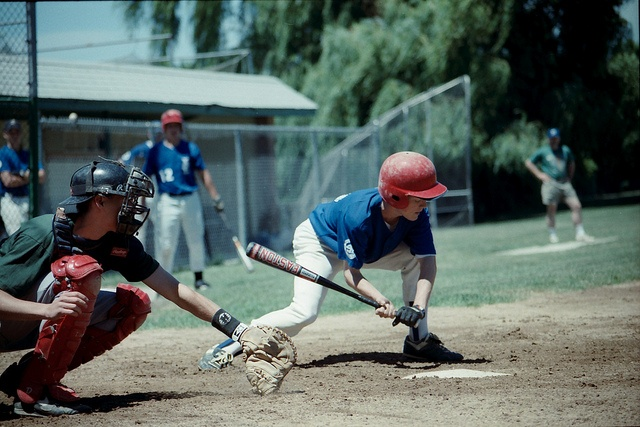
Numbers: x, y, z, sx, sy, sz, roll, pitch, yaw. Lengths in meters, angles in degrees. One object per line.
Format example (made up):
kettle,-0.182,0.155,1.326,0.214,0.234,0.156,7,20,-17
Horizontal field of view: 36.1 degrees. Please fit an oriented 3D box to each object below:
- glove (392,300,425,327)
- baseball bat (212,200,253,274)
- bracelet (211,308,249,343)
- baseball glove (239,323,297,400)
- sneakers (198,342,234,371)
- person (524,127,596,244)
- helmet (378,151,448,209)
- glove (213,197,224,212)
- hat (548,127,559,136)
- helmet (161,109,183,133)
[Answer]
glove,0.902,0.995,9.843,0.221,0.122,0.234,1,29,39
baseball bat,-1.318,0.314,14.629,0.158,1.183,0.128,-19,-27,-13
bracelet,-0.883,1.097,9.553,0.373,0.228,0.148,40,-8,-4
baseball glove,-0.519,1.410,9.365,0.434,0.661,0.263,23,7,-2
sneakers,-1.050,1.500,9.942,0.162,0.241,0.405,-21,16,40
person,2.879,-0.326,11.847,0.739,1.376,0.237,0,3,43
helmet,0.913,-0.366,9.826,0.587,0.509,0.465,9,15,26
glove,-1.422,-0.116,13.349,0.169,0.208,0.190,1,7,13
hat,2.795,-0.975,11.811,0.141,0.122,0.108,-2,2,14
helmet,-1.918,-1.225,12.665,0.263,0.258,0.314,-3,2,-8
